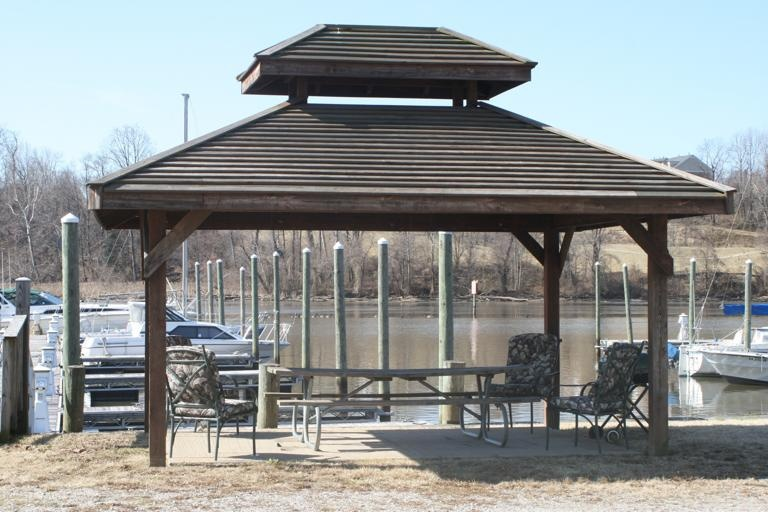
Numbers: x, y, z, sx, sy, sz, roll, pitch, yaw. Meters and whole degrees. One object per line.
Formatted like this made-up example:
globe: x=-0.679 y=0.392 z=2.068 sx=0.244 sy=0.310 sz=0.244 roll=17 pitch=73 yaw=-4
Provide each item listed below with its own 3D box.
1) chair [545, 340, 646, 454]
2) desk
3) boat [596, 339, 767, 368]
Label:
chair: x=8.118 y=5.149 z=72.443 sx=2.295 sy=3.608 sz=3.068 roll=1 pitch=-1 yaw=-40
desk: x=0.072 y=5.741 z=73.459 sx=9.725 sy=3.372 sz=5.775 roll=-2 pitch=-7 yaw=1
boat: x=12.904 y=4.096 z=80.920 sx=6.359 sy=1.435 sz=2.913 roll=2 pitch=3 yaw=-8
